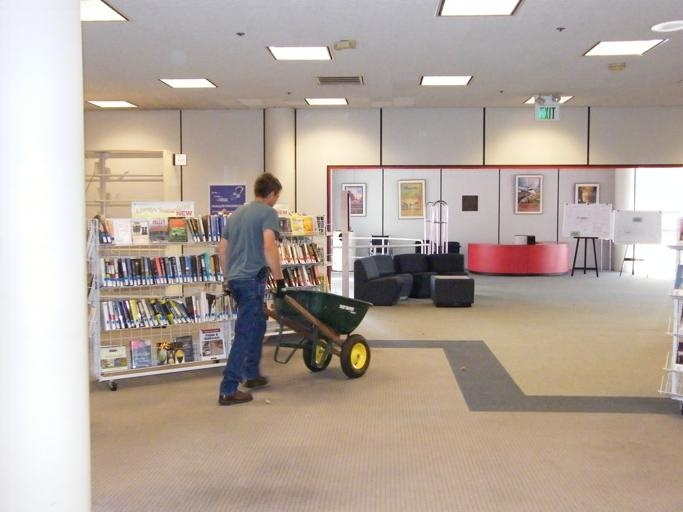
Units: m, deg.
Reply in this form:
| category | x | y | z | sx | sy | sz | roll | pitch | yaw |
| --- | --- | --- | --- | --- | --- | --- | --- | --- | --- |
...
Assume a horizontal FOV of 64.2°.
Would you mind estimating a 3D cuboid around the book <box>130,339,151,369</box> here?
| category | x | y | z | sx | sy | sz | roll | pitch | yaw |
| --- | --- | --- | --- | --- | --- | --- | --- | --- | --- |
| book | -1.991 | 0.973 | 5.378 | 0.287 | 0.364 | 0.056 | 1 | -9 | -23 |

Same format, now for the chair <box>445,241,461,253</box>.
| category | x | y | z | sx | sy | sz | roll | pitch | yaw |
| --- | --- | --- | --- | --- | --- | --- | --- | --- | --- |
| chair | 3.355 | -0.301 | 16.394 | 0.393 | 0.331 | 0.376 | 3 | 13 | 11 |

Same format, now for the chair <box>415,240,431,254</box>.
| category | x | y | z | sx | sy | sz | roll | pitch | yaw |
| --- | --- | --- | --- | --- | --- | --- | --- | --- | --- |
| chair | 2.265 | -0.264 | 15.197 | 0.445 | 0.437 | 0.801 | -2 | -4 | 10 |

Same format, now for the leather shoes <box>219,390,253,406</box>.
| category | x | y | z | sx | sy | sz | roll | pitch | yaw |
| --- | --- | --- | --- | --- | --- | --- | --- | --- | --- |
| leather shoes | -0.927 | 1.228 | 4.755 | 0.277 | 0.116 | 0.114 | -4 | 5 | -32 |

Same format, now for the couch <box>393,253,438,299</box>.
| category | x | y | z | sx | sy | sz | roll | pitch | yaw |
| --- | --- | --- | --- | --- | --- | --- | --- | --- | --- |
| couch | 1.726 | 0.364 | 11.556 | 1.056 | 0.912 | 1.034 | -3 | -5 | -35 |

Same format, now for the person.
| category | x | y | z | sx | sy | sz | roll | pitch | yaw |
| --- | --- | --- | --- | --- | --- | --- | --- | --- | --- |
| person | -0.822 | 0.255 | 4.902 | 0.584 | 2.010 | 0.629 | -1 | 5 | -7 |

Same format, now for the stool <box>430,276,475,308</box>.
| category | x | y | z | sx | sy | sz | roll | pitch | yaw |
| --- | --- | --- | --- | --- | --- | --- | --- | --- | --- |
| stool | 1.831 | 0.670 | 10.047 | 1.076 | 0.495 | 1.040 | 0 | -4 | 1 |

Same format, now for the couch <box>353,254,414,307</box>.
| category | x | y | z | sx | sy | sz | roll | pitch | yaw |
| --- | --- | --- | --- | --- | --- | --- | --- | --- | --- |
| couch | 0.852 | 0.431 | 10.556 | 0.805 | 0.913 | 1.557 | 2 | 4 | 19 |

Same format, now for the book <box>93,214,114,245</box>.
| category | x | y | z | sx | sy | sz | roll | pitch | yaw |
| --- | --- | --- | --- | --- | --- | --- | --- | --- | --- |
| book | -2.280 | -0.261 | 5.235 | 0.149 | 0.276 | 0.265 | 1 | 5 | 11 |

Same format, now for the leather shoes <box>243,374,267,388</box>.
| category | x | y | z | sx | sy | sz | roll | pitch | yaw |
| --- | --- | --- | --- | --- | --- | --- | --- | --- | --- |
| leather shoes | -0.809 | 1.196 | 5.221 | 0.253 | 0.105 | 0.084 | -8 | 9 | -33 |

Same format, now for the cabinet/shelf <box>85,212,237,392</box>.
| category | x | y | z | sx | sy | sz | roll | pitch | yaw |
| --- | --- | --- | --- | --- | --- | --- | --- | --- | --- |
| cabinet/shelf | -1.772 | 0.474 | 5.375 | 1.778 | 1.677 | 0.662 | -2 | 3 | -40 |

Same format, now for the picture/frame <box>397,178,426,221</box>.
| category | x | y | z | sx | sy | sz | roll | pitch | yaw |
| --- | --- | --- | --- | --- | --- | --- | --- | --- | --- |
| picture/frame | 2.220 | -1.813 | 17.376 | 0.871 | 1.232 | 0.169 | 0 | 5 | 5 |

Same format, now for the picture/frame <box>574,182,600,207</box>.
| category | x | y | z | sx | sy | sz | roll | pitch | yaw |
| --- | --- | --- | --- | --- | --- | --- | --- | --- | --- |
| picture/frame | 7.628 | -1.978 | 16.969 | 0.769 | 0.583 | 0.172 | -1 | 5 | -6 |

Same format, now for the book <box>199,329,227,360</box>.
| category | x | y | z | sx | sy | sz | roll | pitch | yaw |
| --- | --- | --- | --- | --- | --- | --- | --- | --- | --- |
| book | -1.358 | 0.924 | 5.673 | 0.317 | 0.358 | 0.120 | -1 | -4 | -17 |

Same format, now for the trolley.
| category | x | y | z | sx | sy | sz | roll | pitch | yaw |
| --- | --- | --- | --- | --- | --- | --- | --- | --- | --- |
| trolley | -0.263 | 0.775 | 5.441 | 0.723 | 0.739 | 1.026 | -2 | -16 | 33 |
